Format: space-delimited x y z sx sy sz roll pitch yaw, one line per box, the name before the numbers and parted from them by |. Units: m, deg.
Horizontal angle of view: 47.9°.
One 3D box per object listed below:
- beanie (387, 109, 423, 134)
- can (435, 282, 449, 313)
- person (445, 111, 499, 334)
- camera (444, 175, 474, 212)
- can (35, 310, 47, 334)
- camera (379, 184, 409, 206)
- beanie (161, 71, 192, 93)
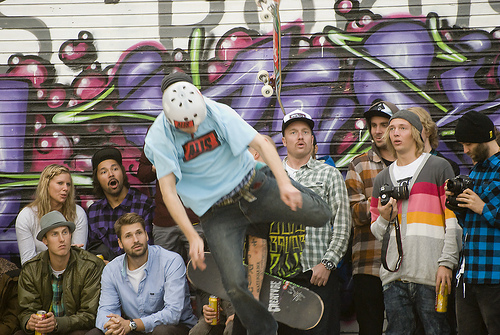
beanie | 2.171 -0.638 7.924 0.454 0.352 0.254 0 -1 6
can | 2.507 1.717 7.450 0.162 0.415 0.096 0 -1 12
person | 2.989 0.732 7.525 0.628 2.994 0.591 0 -1 19
camera | 2.693 0.341 7.392 0.428 0.444 0.409 2 0 -33
can | -3.055 2.270 8.274 0.157 0.373 0.308 0 -1 -30
camera | 1.919 0.368 7.585 0.287 0.179 0.273 -5 4 8
beanie | -0.933 -1.075 7.118 0.352 0.307 0.443 0 -1 -10
